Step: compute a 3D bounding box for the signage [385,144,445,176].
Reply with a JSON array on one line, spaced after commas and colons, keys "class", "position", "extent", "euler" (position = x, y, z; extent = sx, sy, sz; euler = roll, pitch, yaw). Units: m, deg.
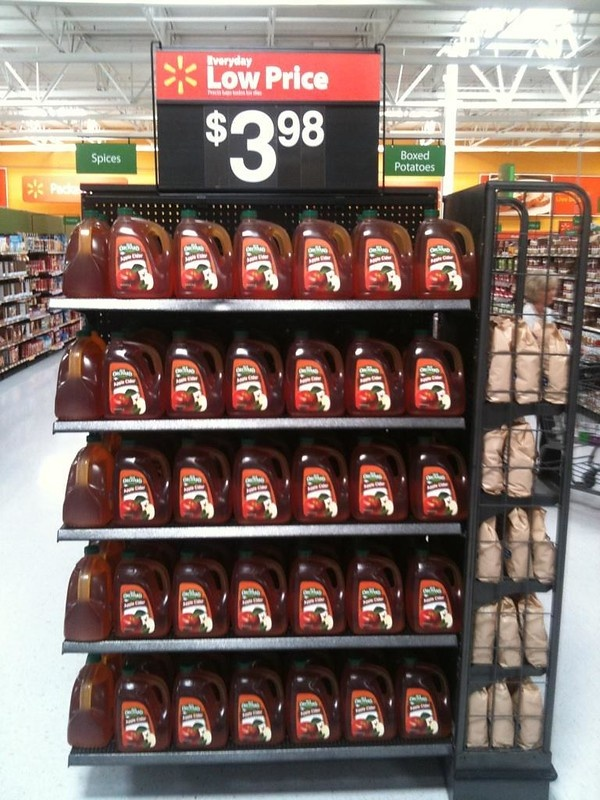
[{"class": "signage", "position": [0.989, -2.082, 5.405], "extent": [0.480, 0.324, 0.429], "euler": [2, 8, 3]}]
